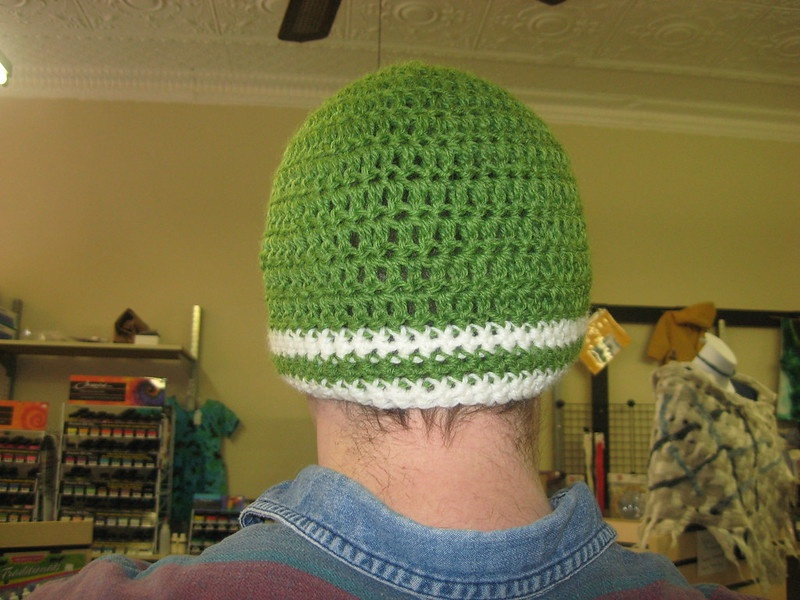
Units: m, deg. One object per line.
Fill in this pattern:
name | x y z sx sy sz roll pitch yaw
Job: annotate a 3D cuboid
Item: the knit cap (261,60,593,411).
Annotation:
knit cap | 0.126 -0.245 2.075 0.893 0.802 0.910 -4 10 -7
